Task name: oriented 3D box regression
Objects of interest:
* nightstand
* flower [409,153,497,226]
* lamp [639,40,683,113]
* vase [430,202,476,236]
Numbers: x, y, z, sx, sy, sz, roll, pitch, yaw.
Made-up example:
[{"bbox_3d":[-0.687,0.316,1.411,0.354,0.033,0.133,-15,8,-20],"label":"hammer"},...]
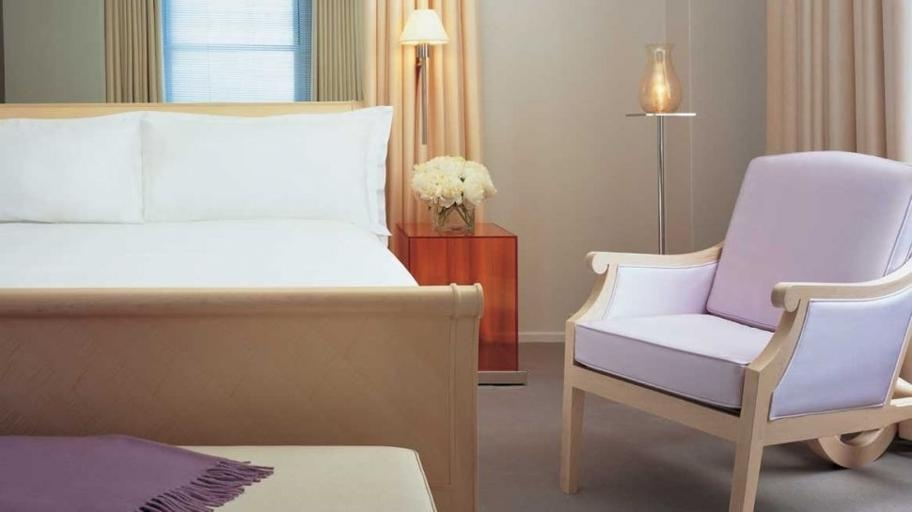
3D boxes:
[{"bbox_3d":[0.087,0.139,4.405,0.751,0.827,1.106,0,4,-4],"label":"nightstand"},{"bbox_3d":[-0.026,-0.389,4.577,0.436,0.351,0.425,-4,5,-35],"label":"flower"},{"bbox_3d":[1.179,-1.022,4.490,0.224,0.386,0.137,2,14,15],"label":"lamp"},{"bbox_3d":[-0.017,-0.206,4.591,0.198,0.148,0.198,0,-2,-4],"label":"vase"}]
